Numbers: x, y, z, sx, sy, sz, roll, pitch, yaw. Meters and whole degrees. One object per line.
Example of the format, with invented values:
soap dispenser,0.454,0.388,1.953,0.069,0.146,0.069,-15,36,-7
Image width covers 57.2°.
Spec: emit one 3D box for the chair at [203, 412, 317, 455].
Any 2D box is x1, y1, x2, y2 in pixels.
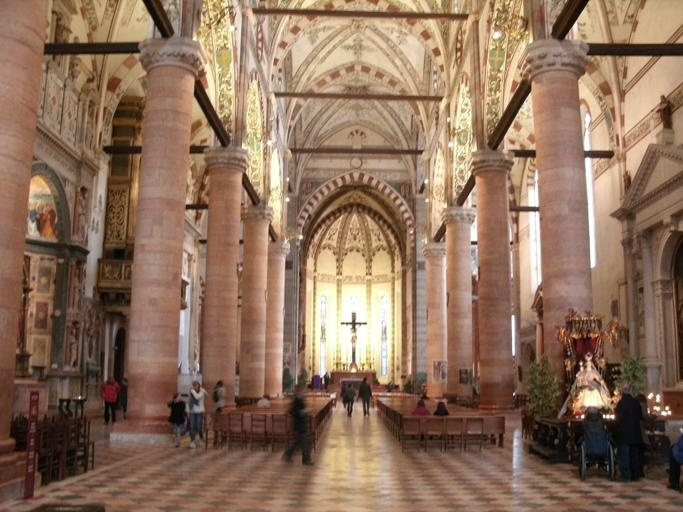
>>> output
chair,-1.995,4.052,14.914,1.783,0.767,1.396,0,-4,2
